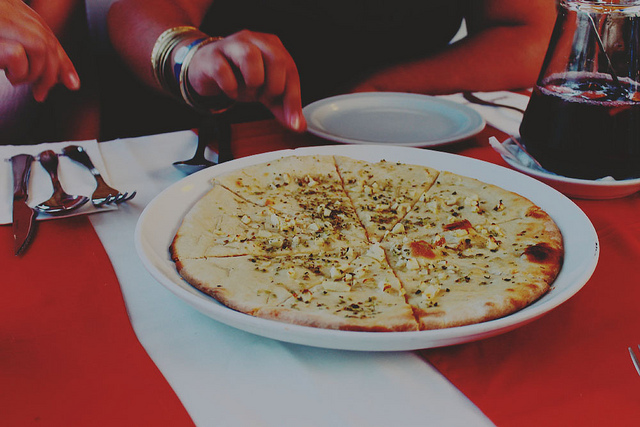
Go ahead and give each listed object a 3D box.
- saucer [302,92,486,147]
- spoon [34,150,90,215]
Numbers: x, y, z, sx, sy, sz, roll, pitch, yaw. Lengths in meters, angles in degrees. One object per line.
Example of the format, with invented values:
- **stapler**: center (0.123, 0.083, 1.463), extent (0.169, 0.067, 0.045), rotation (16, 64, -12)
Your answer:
- **saucer**: center (0.245, -0.342, 2.163), extent (0.349, 0.051, 0.351), rotation (0, 19, 0)
- **spoon**: center (-0.748, -0.117, 1.796), extent (0.110, 0.039, 0.273), rotation (-4, 33, -20)
